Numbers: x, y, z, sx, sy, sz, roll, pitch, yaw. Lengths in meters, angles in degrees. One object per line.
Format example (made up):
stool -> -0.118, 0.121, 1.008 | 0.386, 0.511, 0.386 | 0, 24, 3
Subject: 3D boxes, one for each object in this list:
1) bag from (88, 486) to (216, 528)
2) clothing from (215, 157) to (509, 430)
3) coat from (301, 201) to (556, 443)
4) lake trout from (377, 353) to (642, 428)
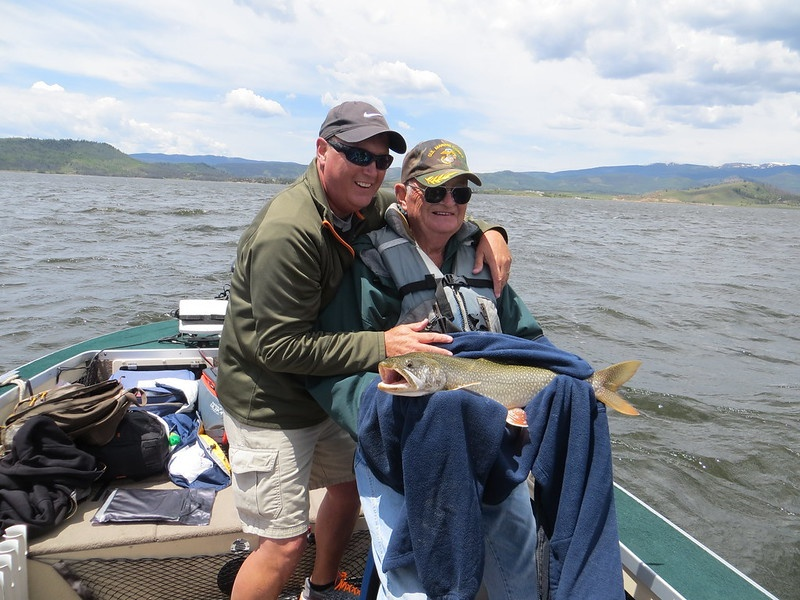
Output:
bag -> -1.868, 1.593, 3.937 | 0.503, 0.072, 0.336 | 7, 2, -8
clothing -> -0.280, -0.058, 3.634 | 1.572, 1.591, 1.344 | 5, 23, 1
coat -> 0.015, -0.073, 3.533 | 1.973, 0.795, 1.365 | -1, 27, -30
lake trout -> 0.557, 0.478, 2.755 | 1.286, 0.403, 0.382 | 0, -19, 10
